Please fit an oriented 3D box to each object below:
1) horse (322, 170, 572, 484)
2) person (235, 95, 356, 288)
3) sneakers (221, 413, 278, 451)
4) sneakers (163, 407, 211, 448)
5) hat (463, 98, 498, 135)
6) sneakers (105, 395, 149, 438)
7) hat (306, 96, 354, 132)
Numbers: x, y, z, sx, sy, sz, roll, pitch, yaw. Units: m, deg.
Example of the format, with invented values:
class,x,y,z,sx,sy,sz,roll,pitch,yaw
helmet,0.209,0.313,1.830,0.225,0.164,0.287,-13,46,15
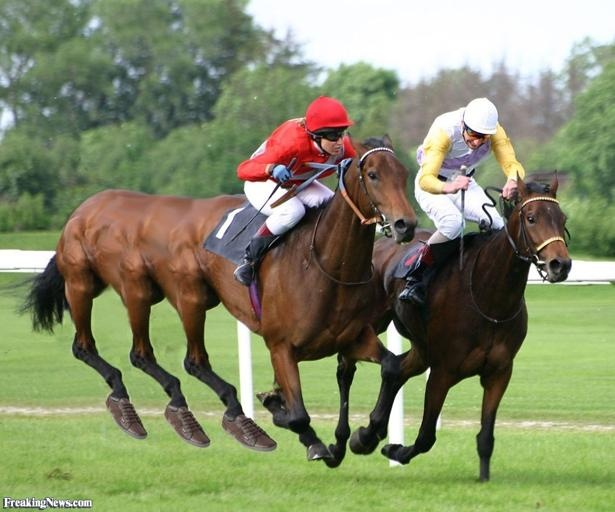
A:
class,x,y,z,sx,sy,sz,roll,pitch,yaw
horse,0.998,0.536,8.708,1.148,2.291,1.893,-10,14,-42
person,-0.006,-0.495,8.708,1.069,1.384,0.917,1,16,-18
sneakers,-0.465,1.320,8.981,0.523,0.166,0.189,17,25,35
sneakers,-0.962,1.321,9.264,0.185,0.171,0.527,-19,31,-37
hat,1.298,-1.035,8.669,0.254,0.272,0.234,1,10,6
sneakers,-1.476,1.301,9.498,0.183,0.172,0.519,-19,36,-32
hat,0.136,-1.047,8.484,0.414,0.247,0.455,-8,5,7
